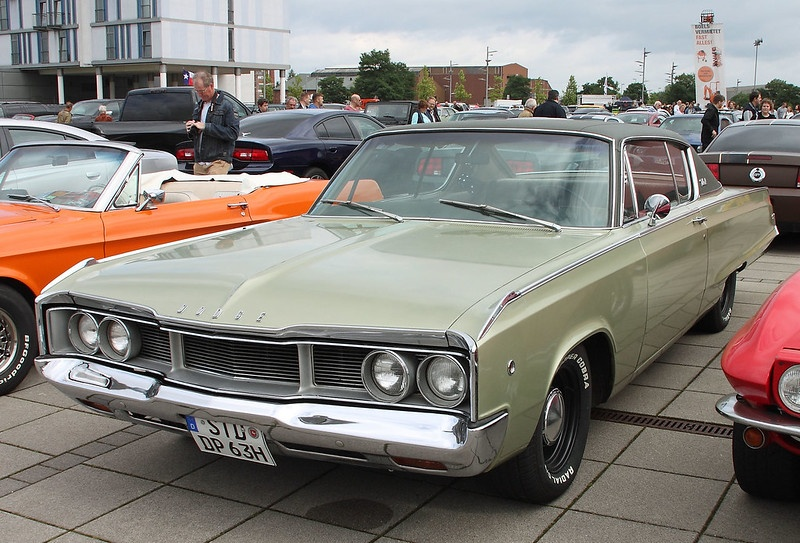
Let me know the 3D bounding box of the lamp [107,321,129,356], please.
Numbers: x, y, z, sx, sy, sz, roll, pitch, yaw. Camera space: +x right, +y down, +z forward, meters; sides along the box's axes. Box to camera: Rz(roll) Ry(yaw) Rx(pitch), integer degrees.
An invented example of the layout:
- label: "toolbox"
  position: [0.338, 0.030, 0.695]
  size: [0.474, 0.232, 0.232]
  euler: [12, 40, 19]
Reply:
- label: "lamp"
  position: [-1.573, 0.369, 3.300]
  size: [0.207, 0.199, 0.047]
  euler: [10, 21, 41]

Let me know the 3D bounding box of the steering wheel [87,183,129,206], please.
- label: "steering wheel"
  position: [-2.747, -0.739, 5.599]
  size: [0.356, 0.130, 0.228]
  euler: [3, 12, 13]

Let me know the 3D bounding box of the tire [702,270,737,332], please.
- label: "tire"
  position: [3.029, 0.277, 5.575]
  size: [0.195, 0.482, 0.522]
  euler: [0, 28, 40]

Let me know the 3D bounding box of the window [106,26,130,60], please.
- label: "window"
  position: [-26.901, -21.862, 56.146]
  size: [3.011, 3.105, 0.938]
  euler: [9, 18, 32]

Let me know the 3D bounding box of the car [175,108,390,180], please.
- label: "car"
  position: [-1.859, -2.390, 11.346]
  size: [1.899, 1.135, 4.261]
  euler: [7, 14, 35]
